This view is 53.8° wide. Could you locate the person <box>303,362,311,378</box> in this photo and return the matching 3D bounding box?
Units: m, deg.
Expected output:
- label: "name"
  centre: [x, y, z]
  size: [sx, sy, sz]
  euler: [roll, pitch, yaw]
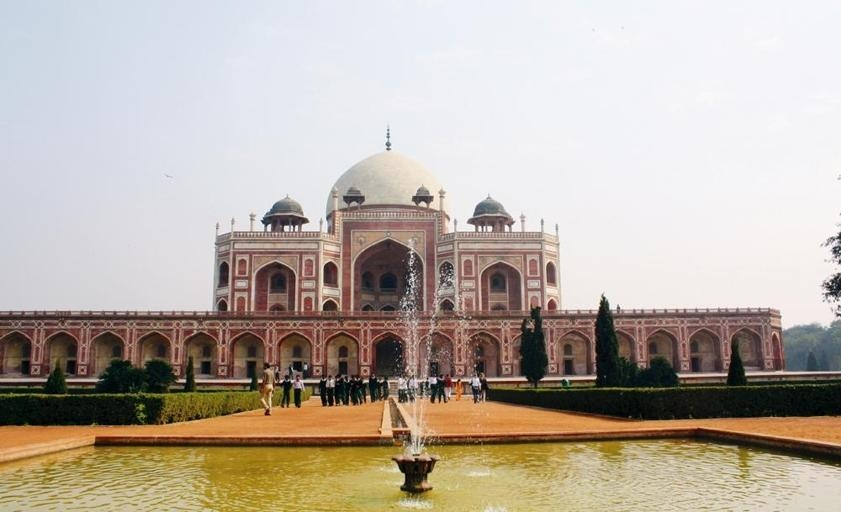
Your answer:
- label: "person"
  centre: [-5.534, 5.526, 40.233]
  size: [0.343, 0.780, 0.708]
  euler: [2, -12, -19]
